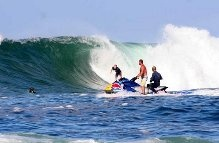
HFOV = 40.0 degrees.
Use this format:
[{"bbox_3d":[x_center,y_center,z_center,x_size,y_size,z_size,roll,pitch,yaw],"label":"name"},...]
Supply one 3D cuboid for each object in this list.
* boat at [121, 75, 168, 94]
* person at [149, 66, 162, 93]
[{"bbox_3d":[2.099,0.810,18.700,2.784,1.267,1.023,13,-1,4],"label":"boat"},{"bbox_3d":[2.761,0.484,17.920,0.693,1.579,0.570,0,6,8],"label":"person"}]
